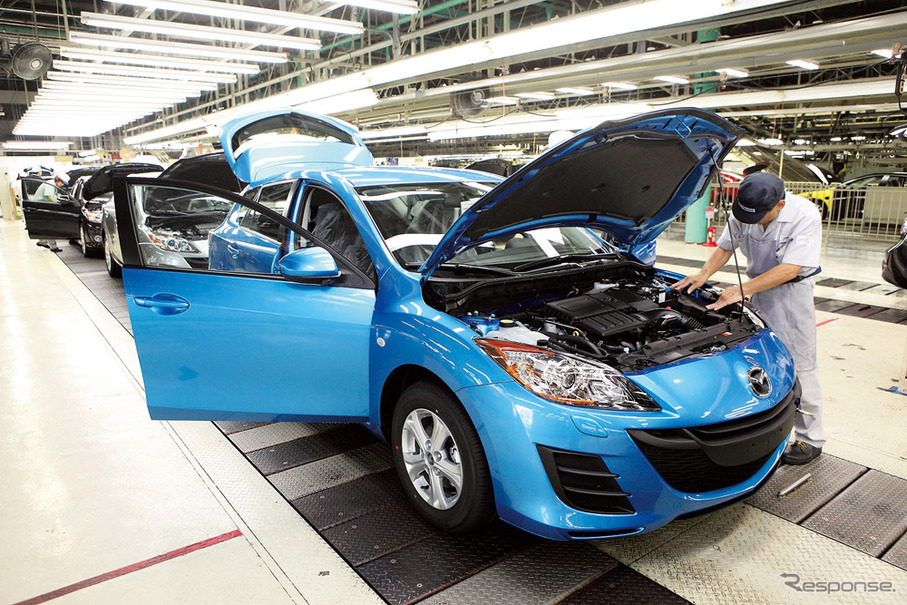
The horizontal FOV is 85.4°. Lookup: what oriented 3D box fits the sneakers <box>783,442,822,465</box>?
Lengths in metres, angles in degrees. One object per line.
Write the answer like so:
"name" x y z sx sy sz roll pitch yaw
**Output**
"sneakers" 2.522 1.084 3.597 0.408 0.113 0.152 1 -1 -25
